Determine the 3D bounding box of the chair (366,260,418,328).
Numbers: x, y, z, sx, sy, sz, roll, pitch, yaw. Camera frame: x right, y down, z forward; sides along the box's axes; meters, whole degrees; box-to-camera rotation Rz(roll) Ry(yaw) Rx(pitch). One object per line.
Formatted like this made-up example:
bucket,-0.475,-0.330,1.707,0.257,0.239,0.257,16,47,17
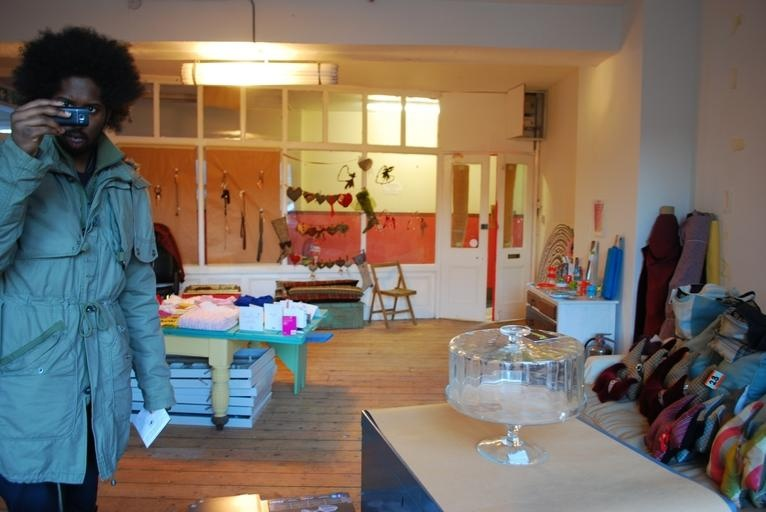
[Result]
chair,0.196,0.569,9.474,0.782,0.895,0.630,-2,10,-23

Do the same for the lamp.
lamp,-1.241,-1.923,6.573,1.250,0.202,0.618,0,8,-4

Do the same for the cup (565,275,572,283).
cup,2.179,0.273,7.288,0.086,0.152,0.084,4,-11,1

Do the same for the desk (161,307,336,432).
desk,-1.328,0.949,5.774,1.215,0.572,1.092,1,0,3

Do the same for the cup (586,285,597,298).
cup,2.298,0.386,6.843,0.126,0.137,0.124,-1,1,0

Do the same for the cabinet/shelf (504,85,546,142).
cabinet/shelf,2.138,-2.110,9.258,0.724,0.870,0.602,0,2,-2

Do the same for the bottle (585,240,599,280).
bottle,2.434,0.046,7.161,0.119,0.464,0.351,5,10,19

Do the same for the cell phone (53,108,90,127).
cell phone,-1.506,-0.681,3.035,0.103,0.101,0.163,4,9,11
